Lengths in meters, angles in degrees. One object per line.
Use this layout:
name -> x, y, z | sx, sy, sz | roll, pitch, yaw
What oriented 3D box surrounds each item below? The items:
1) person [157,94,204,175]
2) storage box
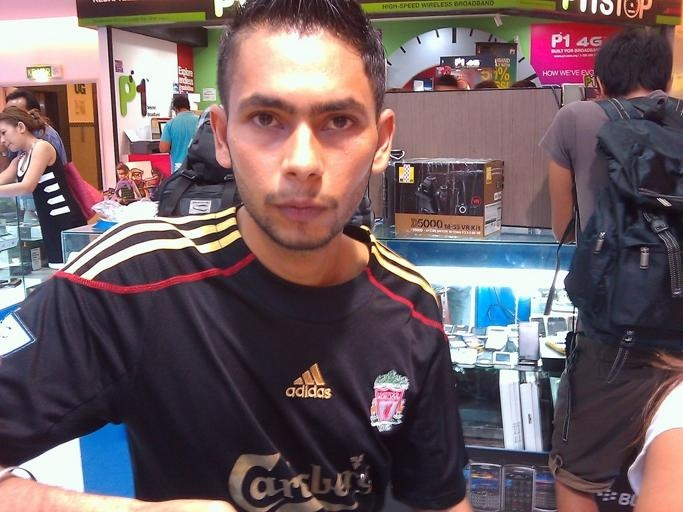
person -> -2.064, -1.336, 7.201 | 0.465, 1.407, 0.424 | -4, 33, -29
storage box -> 0.428, -0.220, 2.348 | 0.519, 0.305, 0.380 | 2, -7, 7
